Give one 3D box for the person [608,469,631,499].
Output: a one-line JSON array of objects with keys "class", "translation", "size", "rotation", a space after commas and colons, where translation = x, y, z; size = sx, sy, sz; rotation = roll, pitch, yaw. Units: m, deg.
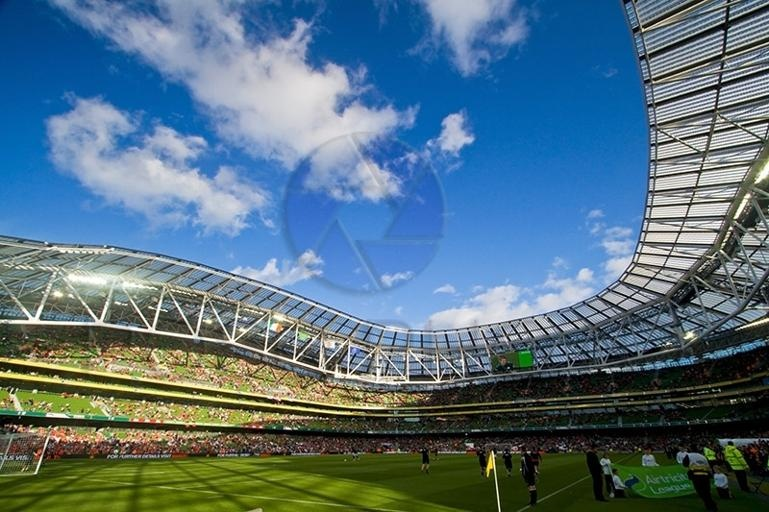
[{"class": "person", "translation": [13.832, 13.258, 21.597], "size": [0.641, 1.433, 0.700], "rotation": [9, -45, -11]}]
